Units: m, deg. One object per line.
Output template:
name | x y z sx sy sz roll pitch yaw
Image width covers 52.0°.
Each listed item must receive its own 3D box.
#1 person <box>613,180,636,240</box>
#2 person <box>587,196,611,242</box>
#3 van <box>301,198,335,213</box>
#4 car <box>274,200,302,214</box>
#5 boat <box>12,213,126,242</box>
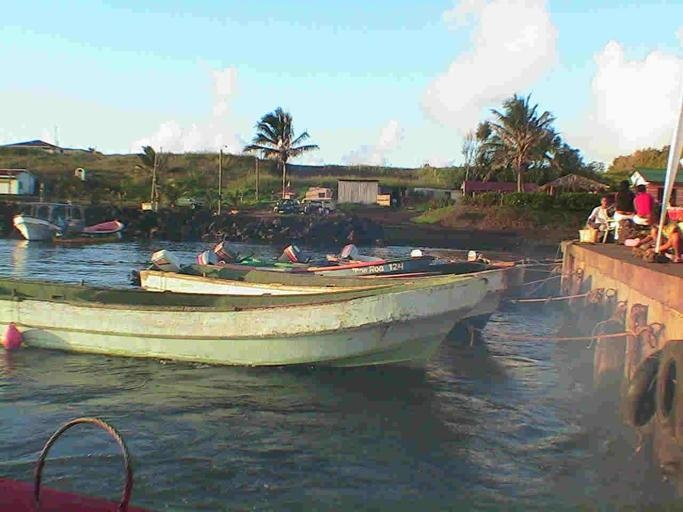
person | 7.105 -1.155 17.697 0.445 1.563 1.323 3 3 21
person | 7.345 -1.095 20.106 0.596 1.318 1.624 3 3 20
van | -1.905 -3.948 55.797 1.564 0.754 1.983 6 7 31
car | -4.149 -3.871 54.826 2.078 1.079 1.869 2 3 -7
boat | -16.247 -1.599 41.661 5.616 1.572 2.153 1 3 -24
